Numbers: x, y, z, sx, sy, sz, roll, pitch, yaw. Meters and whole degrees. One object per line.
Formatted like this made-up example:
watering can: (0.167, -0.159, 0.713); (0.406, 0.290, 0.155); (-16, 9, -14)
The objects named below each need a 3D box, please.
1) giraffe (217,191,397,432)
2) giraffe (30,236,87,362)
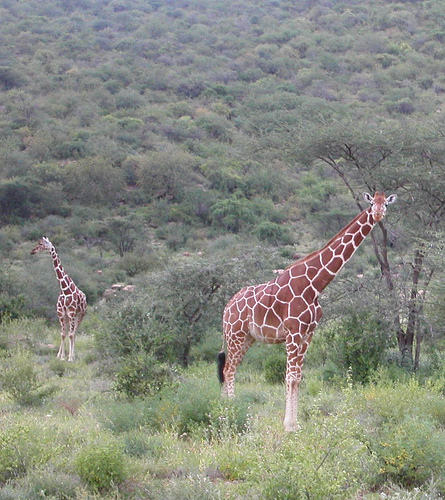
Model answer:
giraffe: (1.356, 0.994, 15.966); (3.325, 4.063, 1.780); (-1, 1, 14)
giraffe: (-4.703, 1.278, 24.499); (1.276, 3.386, 4.740); (-2, 1, -10)
